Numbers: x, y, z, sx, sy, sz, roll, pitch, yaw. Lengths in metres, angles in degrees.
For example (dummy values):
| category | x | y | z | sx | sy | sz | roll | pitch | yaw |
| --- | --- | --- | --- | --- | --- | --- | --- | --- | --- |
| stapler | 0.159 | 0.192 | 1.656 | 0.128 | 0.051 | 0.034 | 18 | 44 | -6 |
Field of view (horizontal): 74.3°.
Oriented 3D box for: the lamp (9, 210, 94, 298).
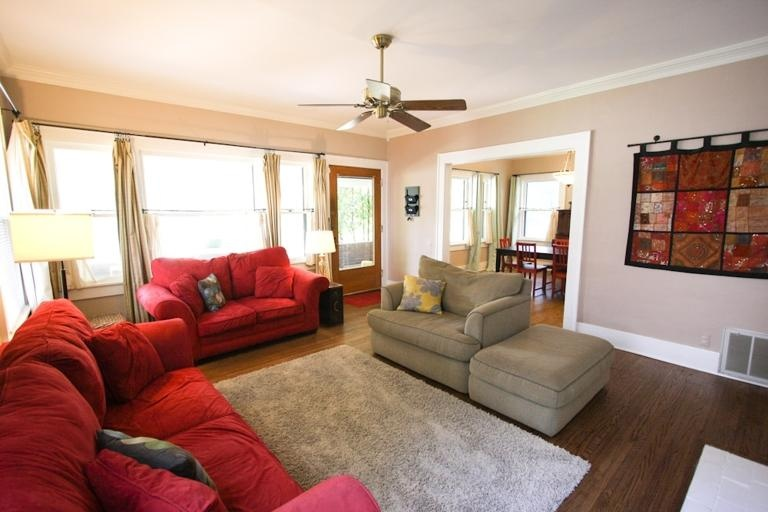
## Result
| category | x | y | z | sx | sy | sz | roll | pitch | yaw |
| --- | --- | --- | --- | --- | --- | --- | --- | --- | --- |
| lamp | -3.087 | -0.186 | 4.706 | 0.638 | 0.456 | 0.133 | -7 | 10 | -32 |

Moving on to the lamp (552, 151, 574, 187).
| category | x | y | z | sx | sy | sz | roll | pitch | yaw |
| --- | --- | --- | --- | --- | --- | --- | --- | --- | --- |
| lamp | 3.361 | -1.616 | 9.437 | 0.340 | 0.613 | 1.585 | 0 | 7 | 18 |

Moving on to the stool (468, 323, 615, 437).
| category | x | y | z | sx | sy | sz | roll | pitch | yaw |
| --- | --- | --- | --- | --- | --- | --- | --- | --- | --- |
| stool | 1.450 | 1.152 | 4.934 | 0.871 | 0.519 | 1.325 | 7 | 12 | 43 |

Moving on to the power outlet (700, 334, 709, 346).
| category | x | y | z | sx | sy | sz | roll | pitch | yaw |
| --- | --- | --- | --- | --- | --- | --- | --- | --- | --- |
| power outlet | 3.571 | 0.943 | 5.608 | 0.066 | 0.108 | 0.108 | 0 | -2 | -36 |

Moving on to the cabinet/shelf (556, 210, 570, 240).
| category | x | y | z | sx | sy | sz | roll | pitch | yaw |
| --- | --- | --- | --- | --- | --- | --- | --- | --- | --- |
| cabinet/shelf | 3.547 | -0.633 | 10.090 | 0.315 | 0.559 | 0.264 | 3 | 10 | 35 |

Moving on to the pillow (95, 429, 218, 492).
| category | x | y | z | sx | sy | sz | roll | pitch | yaw |
| --- | --- | --- | --- | --- | --- | --- | --- | --- | --- |
| pillow | -1.570 | 1.417 | 3.611 | 0.705 | 0.272 | 0.302 | 10 | 18 | 11 |

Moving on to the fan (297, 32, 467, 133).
| category | x | y | z | sx | sy | sz | roll | pitch | yaw |
| --- | --- | --- | --- | --- | --- | --- | --- | --- | --- |
| fan | 0.081 | -1.790 | 5.343 | 0.970 | 0.897 | 1.131 | -5 | 8 | -18 |
